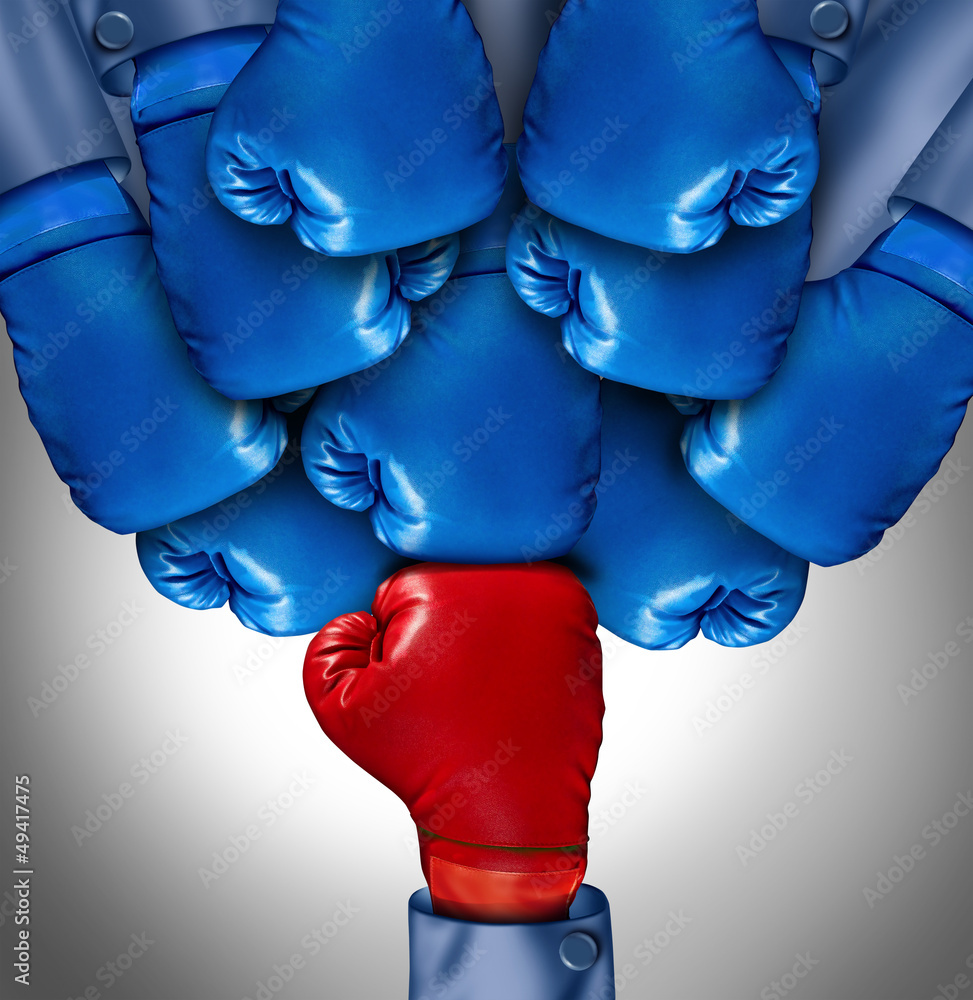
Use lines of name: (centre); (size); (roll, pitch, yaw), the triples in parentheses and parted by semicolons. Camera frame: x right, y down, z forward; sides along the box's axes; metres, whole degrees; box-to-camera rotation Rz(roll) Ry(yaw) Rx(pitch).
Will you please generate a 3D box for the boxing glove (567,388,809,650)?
boxing glove: (0.141, 0.025, 0.832); (0.147, 0.235, 0.085); (-23, 8, 5)
